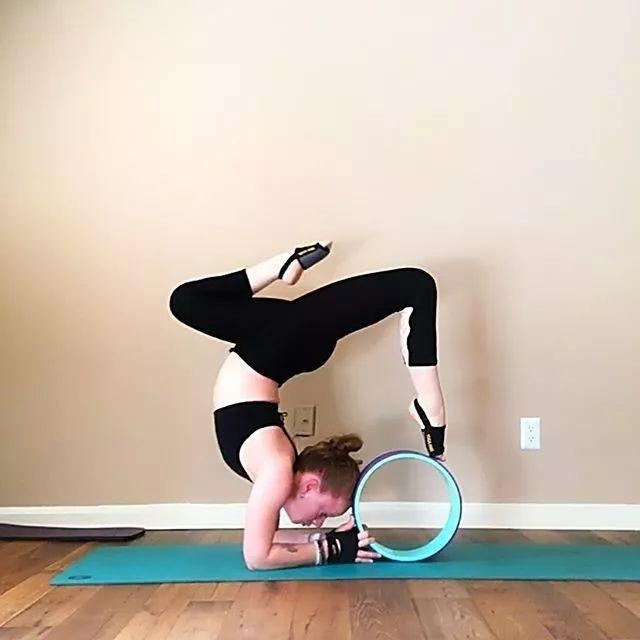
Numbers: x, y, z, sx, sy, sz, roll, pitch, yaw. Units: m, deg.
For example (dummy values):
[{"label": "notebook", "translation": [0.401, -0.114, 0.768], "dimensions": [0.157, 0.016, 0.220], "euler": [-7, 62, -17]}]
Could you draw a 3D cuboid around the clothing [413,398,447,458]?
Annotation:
[{"label": "clothing", "translation": [0.361, 0.368, 2.158], "dimensions": [0.090, 0.212, 0.069], "euler": [-17, -2, 17]}]

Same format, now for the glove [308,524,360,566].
[{"label": "glove", "translation": [0.047, 0.676, 1.966], "dimensions": [0.102, 0.044, 0.127], "euler": [1, -4, -24]}]

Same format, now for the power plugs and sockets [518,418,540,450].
[{"label": "power plugs and sockets", "translation": [0.803, 0.434, 2.468], "dimensions": [0.090, 0.107, 0.028], "euler": [0, -5, 1]}]

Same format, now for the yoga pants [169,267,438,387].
[{"label": "yoga pants", "translation": [-0.077, 0.015, 2.318], "dimensions": [1.024, 0.466, 0.329], "euler": [-1, -5, 3]}]
